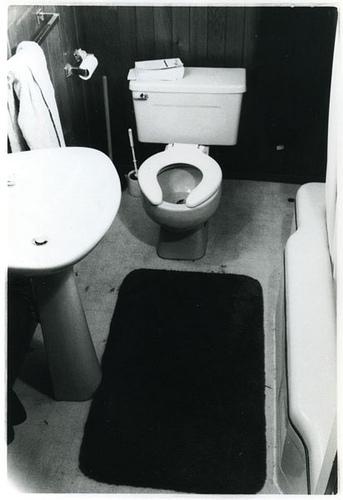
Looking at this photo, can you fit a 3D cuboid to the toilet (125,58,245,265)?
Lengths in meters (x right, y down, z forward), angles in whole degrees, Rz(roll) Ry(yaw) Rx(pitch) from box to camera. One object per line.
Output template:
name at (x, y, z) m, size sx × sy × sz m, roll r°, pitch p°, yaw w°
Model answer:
toilet at (0.065, -0.376, 2.023) m, size 0.395 × 0.730 × 0.694 m, roll 1°, pitch 42°, yaw 3°

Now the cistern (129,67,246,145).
cistern at (0.081, -0.807, 2.103) m, size 0.556 × 0.358 × 0.467 m, roll 2°, pitch 59°, yaw 3°

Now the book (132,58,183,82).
book at (-0.055, -0.822, 1.923) m, size 0.137 × 0.056 × 0.144 m, roll -2°, pitch 43°, yaw 2°

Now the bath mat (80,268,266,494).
bath mat at (0.033, 0.392, 1.527) m, size 0.603 × 0.119 × 0.929 m, roll 2°, pitch 46°, yaw 11°
